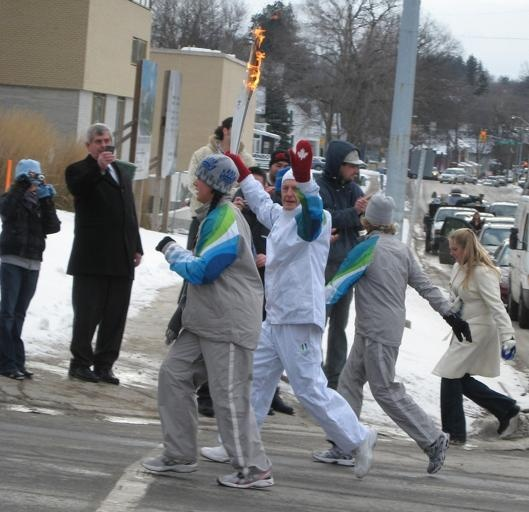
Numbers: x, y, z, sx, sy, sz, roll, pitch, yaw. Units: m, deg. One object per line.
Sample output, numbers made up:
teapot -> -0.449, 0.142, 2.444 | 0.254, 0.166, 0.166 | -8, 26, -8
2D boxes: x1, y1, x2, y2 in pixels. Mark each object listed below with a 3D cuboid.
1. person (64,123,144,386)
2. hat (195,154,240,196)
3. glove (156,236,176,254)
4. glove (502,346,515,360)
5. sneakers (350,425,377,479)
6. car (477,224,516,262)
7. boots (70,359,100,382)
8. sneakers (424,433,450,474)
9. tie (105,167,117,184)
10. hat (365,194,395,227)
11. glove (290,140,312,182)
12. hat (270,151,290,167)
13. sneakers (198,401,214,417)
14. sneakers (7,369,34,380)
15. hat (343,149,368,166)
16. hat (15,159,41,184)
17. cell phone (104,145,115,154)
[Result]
person -> -1.457, 0.003, 6.754 | 0.488, 2.194, 0.897 | 9, 1, 24
hat -> -0.261, -0.507, 4.699 | 0.280, 0.220, 0.205 | 22, 25, 7
glove -> -0.584, -0.071, 4.630 | 0.109, 0.091, 0.085 | -22, -44, 27
glove -> 2.054, 0.826, 6.557 | 0.125, 0.158, 0.058 | 3, 2, -3
sneakers -> 0.631, 1.254, 4.964 | 0.148, 0.322, 0.108 | 18, -24, -12
car -> 6.160, -0.192, 20.136 | 1.087, 0.965, 2.307 | 1, 8, 9
boots -> -1.563, 1.007, 6.796 | 0.320, 0.141, 0.131 | 5, 4, 28
sneakers -> 1.180, 1.323, 5.277 | 0.164, 0.317, 0.111 | 6, 18, -2
tie -> -1.322, -0.699, 6.767 | 0.044, 0.128, 0.096 | -42, -23, 30
hat -> 0.857, -0.336, 5.754 | 0.223, 0.227, 0.238 | -1, 13, -9
glove -> 0.228, -0.605, 4.935 | 0.161, 0.242, 0.066 | -2, 5, -6
hat -> 0.143, -0.927, 7.407 | 0.155, 0.156, 0.204 | 2, -14, -7
sneakers -> -0.498, 1.296, 6.581 | 0.106, 0.056, 0.181 | -4, 20, -1
sneakers -> -2.052, 0.992, 6.505 | 0.140, 0.049, 0.089 | -1, 0, 14
hat -> 0.806, -0.854, 6.818 | 0.181, 0.094, 0.124 | 17, 14, 42
hat -> -2.094, -0.754, 6.873 | 0.191, 0.190, 0.250 | 4, -8, -9
cell phone -> -1.271, -0.873, 6.368 | 0.089, 0.080, 0.024 | 5, -2, 25
